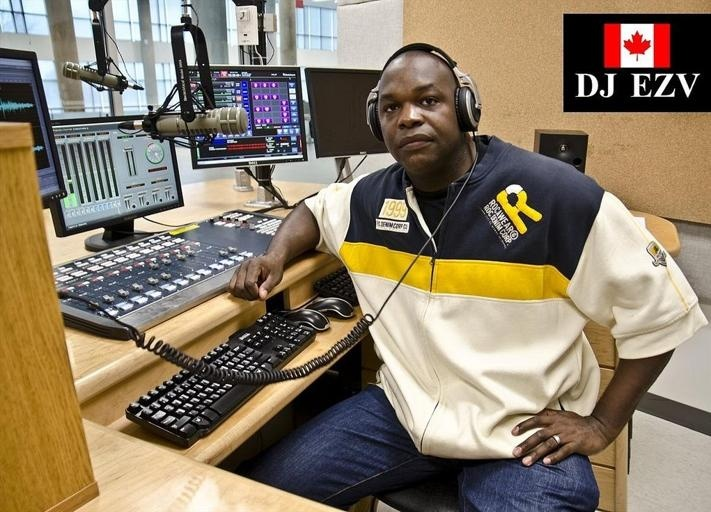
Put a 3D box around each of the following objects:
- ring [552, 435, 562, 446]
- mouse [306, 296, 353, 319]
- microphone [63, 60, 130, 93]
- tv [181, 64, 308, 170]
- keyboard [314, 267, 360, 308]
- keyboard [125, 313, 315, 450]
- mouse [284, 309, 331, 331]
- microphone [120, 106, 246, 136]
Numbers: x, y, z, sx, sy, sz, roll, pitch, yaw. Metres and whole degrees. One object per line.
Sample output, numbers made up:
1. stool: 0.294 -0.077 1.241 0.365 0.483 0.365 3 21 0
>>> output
1. ring: 0.513 0.472 1.307 0.016 0.020 0.010 -13 -17 -17
2. mouse: -0.084 0.162 1.668 0.118 0.037 0.074 10 6 12
3. microphone: -0.934 -0.647 1.837 0.203 0.093 0.131 -10 19 -22
4. tv: -0.463 -0.588 2.120 0.512 0.401 0.047 -7 11 -27
5. keyboard: -0.062 0.104 1.777 0.123 0.038 0.171 31 27 9
6. keyboard: -0.344 0.202 1.207 0.205 0.073 0.541 18 28 25
7. mouse: -0.148 0.181 1.568 0.105 0.032 0.069 15 15 11
8. microphone: -0.569 -0.448 1.688 0.444 0.104 0.098 -2 29 16
